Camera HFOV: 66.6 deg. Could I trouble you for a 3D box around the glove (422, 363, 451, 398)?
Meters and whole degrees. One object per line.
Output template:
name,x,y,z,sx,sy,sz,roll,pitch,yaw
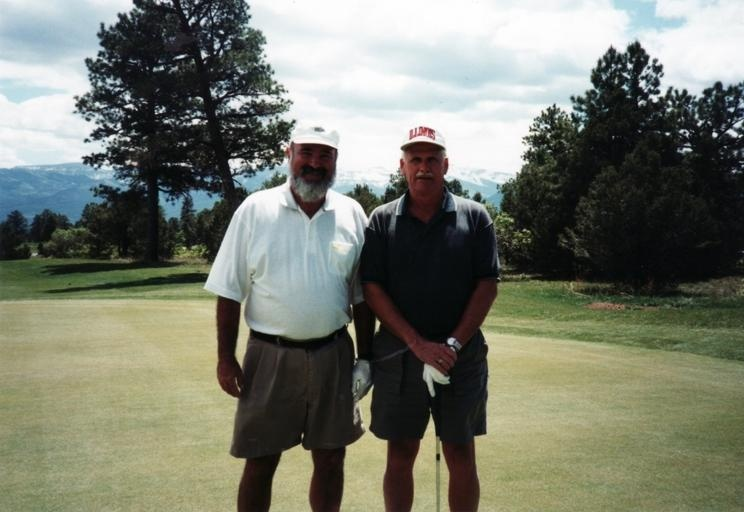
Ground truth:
glove,0.568,1.083,4.917,0.087,0.282,0.267,-17,31,-24

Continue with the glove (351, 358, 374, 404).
glove,-0.104,1.118,5.029,0.214,0.314,0.140,10,-20,29
